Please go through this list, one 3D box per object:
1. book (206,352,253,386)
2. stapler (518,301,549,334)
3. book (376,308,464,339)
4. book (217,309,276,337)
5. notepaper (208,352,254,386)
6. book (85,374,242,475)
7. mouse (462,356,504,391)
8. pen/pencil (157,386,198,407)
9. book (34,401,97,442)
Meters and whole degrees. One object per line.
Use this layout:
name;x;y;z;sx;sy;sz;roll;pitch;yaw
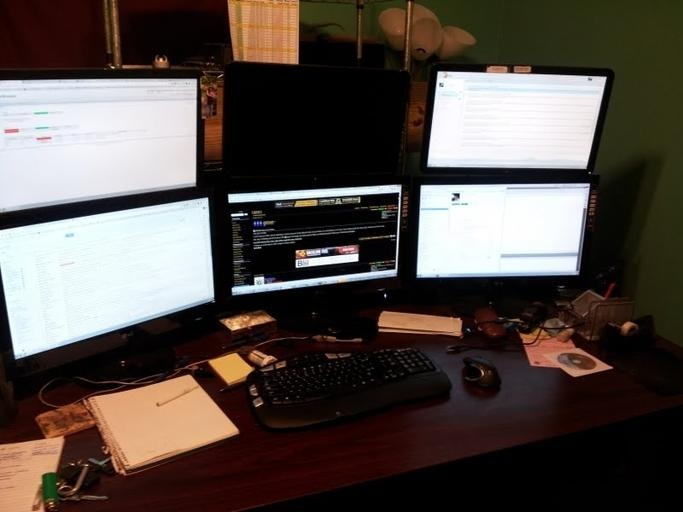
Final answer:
book;-0.317;0.318;1.542;0.085;0.016;0.083;-13;37;-37
stapler;0.639;0.209;1.807;0.043;0.054;0.080;11;36;45
book;0.260;0.223;1.801;0.192;0.020;0.106;2;29;4
book;-0.301;0.208;1.734;0.115;0.023;0.073;-9;21;-28
notepaper;-0.314;0.319;1.540;0.085;0.016;0.084;-14;38;-38
book;-0.459;0.412;1.381;0.316;0.054;0.270;-9;24;-27
mouse;0.399;0.328;1.529;0.075;0.034;0.099;0;20;-26
pen/pencil;-0.437;0.371;1.440;0.013;0.010;0.095;25;29;36
book;-0.691;0.409;1.358;0.116;0.025;0.102;-14;26;-35
